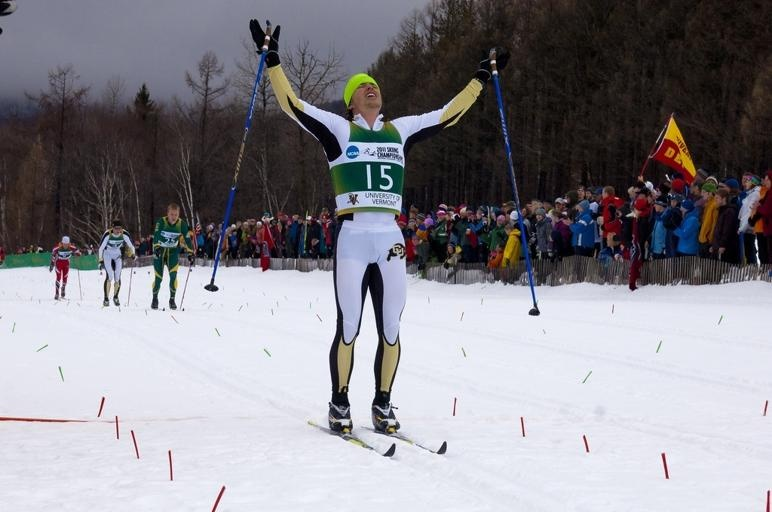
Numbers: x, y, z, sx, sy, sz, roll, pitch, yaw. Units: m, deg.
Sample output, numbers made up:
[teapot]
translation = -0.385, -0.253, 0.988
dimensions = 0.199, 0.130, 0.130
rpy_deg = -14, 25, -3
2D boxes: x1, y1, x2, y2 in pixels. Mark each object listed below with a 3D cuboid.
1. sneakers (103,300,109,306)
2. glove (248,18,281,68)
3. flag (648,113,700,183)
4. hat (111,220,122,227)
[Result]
[sneakers]
translation = -6.687, 1.153, 21.512
dimensions = 0.120, 0.129, 0.136
rpy_deg = 5, -8, -10
[glove]
translation = -1.759, -3.033, 13.087
dimensions = 0.381, 0.314, 1.026
rpy_deg = 23, -24, 1
[flag]
translation = 6.766, -2.539, 21.273
dimensions = 1.199, 1.726, 0.672
rpy_deg = 3, -7, 12
[hat]
translation = -6.800, -0.798, 22.828
dimensions = 0.232, 0.173, 0.232
rpy_deg = 1, -1, -29
